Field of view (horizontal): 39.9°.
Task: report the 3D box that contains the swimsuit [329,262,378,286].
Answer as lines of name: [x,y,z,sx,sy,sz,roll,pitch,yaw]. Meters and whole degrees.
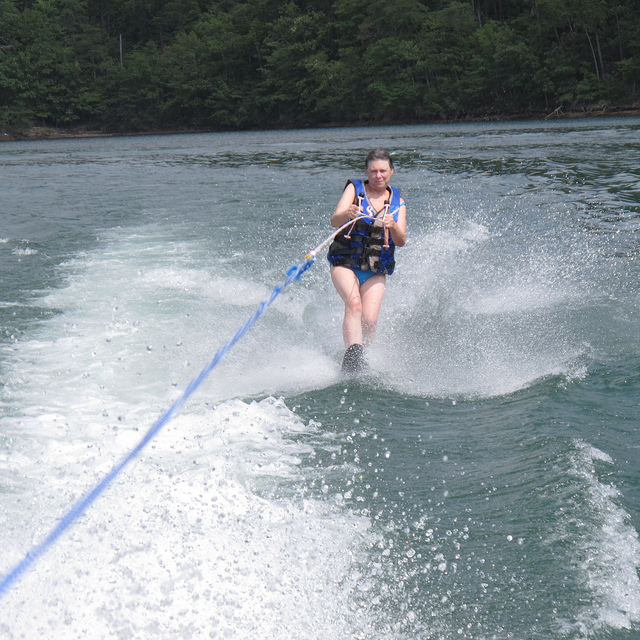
swimsuit: [0.250,-0.321,6.020,0.134,0.148,0.085,5,8,-23]

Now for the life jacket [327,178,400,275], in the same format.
life jacket: [0.312,-0.629,6.061,0.531,0.674,0.329,-5,23,-1]
